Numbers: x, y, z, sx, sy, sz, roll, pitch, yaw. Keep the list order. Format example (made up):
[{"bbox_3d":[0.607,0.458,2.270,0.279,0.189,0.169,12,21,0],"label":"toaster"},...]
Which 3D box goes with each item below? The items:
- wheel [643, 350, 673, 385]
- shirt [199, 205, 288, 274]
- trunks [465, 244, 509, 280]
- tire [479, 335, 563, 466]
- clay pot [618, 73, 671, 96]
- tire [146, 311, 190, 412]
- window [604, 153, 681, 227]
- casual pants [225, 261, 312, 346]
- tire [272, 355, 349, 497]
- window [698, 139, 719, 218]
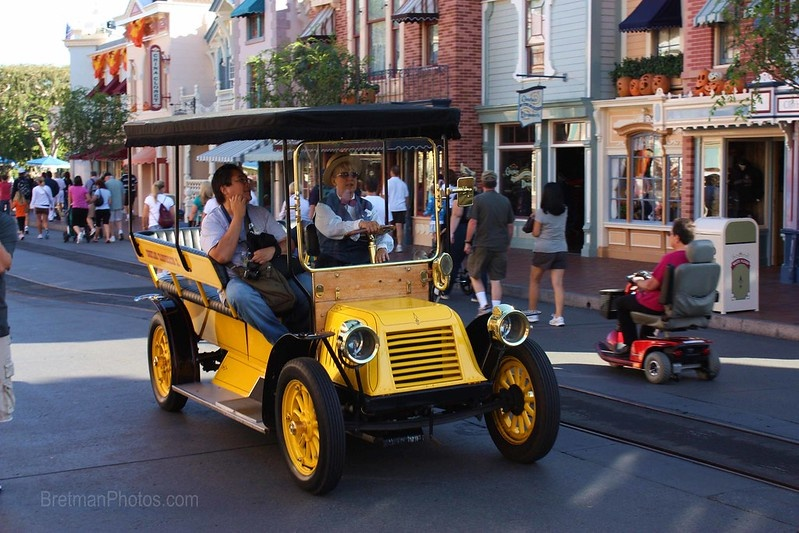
[{"bbox_3d":[3.134,1.211,9.690,0.134,0.395,0.382,2,-3,-15],"label":"wheel"},{"bbox_3d":[-1.603,-0.401,8.193,1.045,0.834,0.576,-1,-5,-17],"label":"shirt"},{"bbox_3d":[1.423,-0.095,13.019,0.771,0.808,0.467,4,8,7],"label":"trunks"},{"bbox_3d":[1.075,1.243,7.285,0.238,1.016,0.857,0,21,-31],"label":"tire"},{"bbox_3d":[6.155,-4.578,20.054,0.253,0.316,0.835,6,-2,-36],"label":"clay pot"},{"bbox_3d":[-2.509,1.035,8.766,0.311,0.976,0.873,-5,13,-26],"label":"tire"},{"bbox_3d":[6.285,-1.993,20.536,0.136,1.994,2.540,-4,5,-34],"label":"window"},{"bbox_3d":[-1.222,0.338,7.491,0.461,0.645,1.000,-8,12,-38],"label":"casual pants"},{"bbox_3d":[-0.737,1.335,6.763,0.321,1.143,1.017,-4,8,-31],"label":"tire"},{"bbox_3d":[7.328,-2.112,18.866,0.237,1.788,0.587,-5,11,-27],"label":"window"}]
